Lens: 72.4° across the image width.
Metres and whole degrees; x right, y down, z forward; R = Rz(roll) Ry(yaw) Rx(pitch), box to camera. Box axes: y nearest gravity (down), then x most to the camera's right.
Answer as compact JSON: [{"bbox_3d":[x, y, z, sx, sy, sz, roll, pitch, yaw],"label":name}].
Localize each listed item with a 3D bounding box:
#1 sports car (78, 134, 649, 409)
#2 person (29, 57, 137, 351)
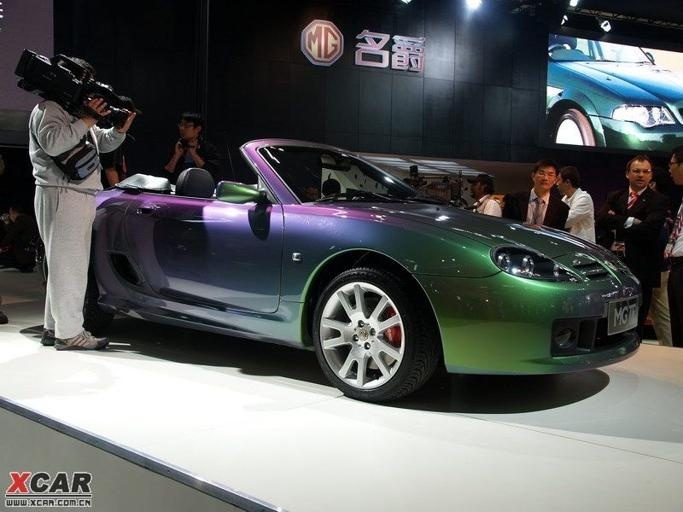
[{"bbox_3d":[0.002,-0.010,3.069,3.445,1.608,0.858,4,5,26],"label":"sports car"},{"bbox_3d":[-1.988,-0.385,3.570,0.747,2.127,0.707,1,2,-18],"label":"person"}]
